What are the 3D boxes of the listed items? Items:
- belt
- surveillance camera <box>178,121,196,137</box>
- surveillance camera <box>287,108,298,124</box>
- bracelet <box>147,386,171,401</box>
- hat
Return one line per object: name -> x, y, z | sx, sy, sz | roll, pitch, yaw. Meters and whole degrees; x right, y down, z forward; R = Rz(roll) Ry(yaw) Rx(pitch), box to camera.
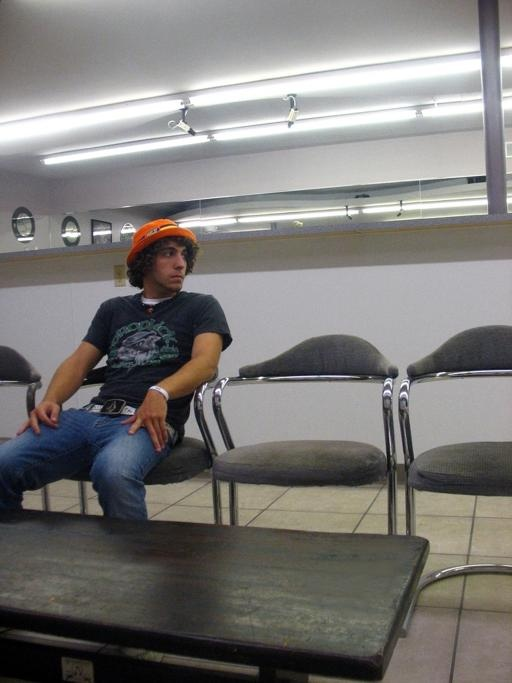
belt -> -0.353, 0.223, 1.556 | 0.274, 0.132, 0.211 | -2, -2, -3
surveillance camera -> -0.747, -2.296, 6.135 | 0.093, 0.043, 0.137 | 21, -1, 27
surveillance camera -> 0.345, -2.253, 5.679 | 0.090, 0.055, 0.102 | -4, -26, -12
bracelet -> -0.248, 0.130, 1.471 | 0.040, 0.015, 0.041 | 18, -21, 44
hat -> -0.314, -0.333, 1.870 | 0.175, 0.062, 0.148 | -26, -12, 8
